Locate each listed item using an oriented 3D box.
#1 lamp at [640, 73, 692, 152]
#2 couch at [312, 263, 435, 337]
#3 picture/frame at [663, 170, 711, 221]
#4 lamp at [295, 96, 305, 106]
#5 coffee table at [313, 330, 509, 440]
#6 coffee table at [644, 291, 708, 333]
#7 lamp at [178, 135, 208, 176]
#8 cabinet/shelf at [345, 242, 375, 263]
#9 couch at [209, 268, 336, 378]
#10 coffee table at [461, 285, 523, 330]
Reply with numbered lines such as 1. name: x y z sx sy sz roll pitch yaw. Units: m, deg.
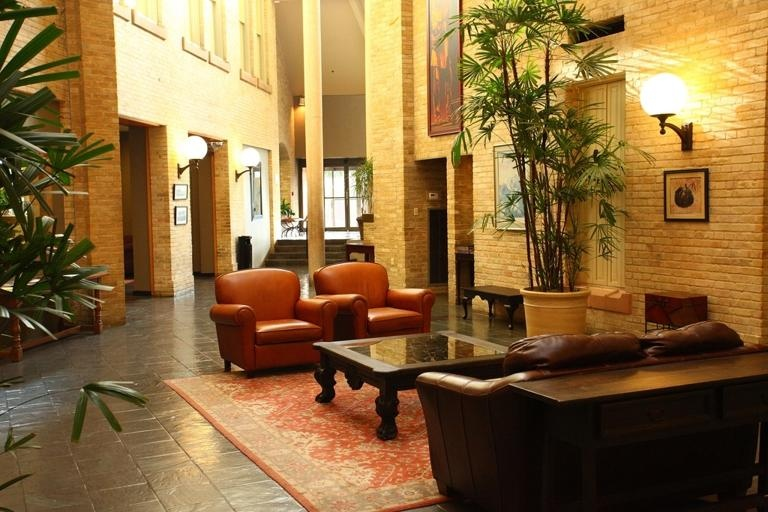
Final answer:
1. lamp: 3.489 -1.739 6.361 0.571 0.903 0.320 -4 9 -22
2. couch: -0.104 0.690 7.090 1.673 0.900 1.279 2 11 -12
3. picture/frame: 3.787 -0.758 6.469 0.128 0.640 0.544 -5 8 -24
4. lamp: -3.686 -6.855 22.985 0.329 0.416 0.457 -4 8 -23
5. coffee table: 0.119 1.053 5.076 1.409 0.403 1.048 -3 9 -33
6. coffee table: 3.604 0.752 6.415 0.368 0.439 0.556 5 -3 -18
7. lamp: -4.550 -2.399 12.487 0.669 1.039 0.792 -2 7 -5
8. cabinet/shelf: -0.530 -0.137 12.745 0.742 0.633 0.641 1 5 13
9. couch: -1.423 0.727 6.579 1.490 0.898 1.001 -1 11 -38
10. coffee table: 2.045 0.816 8.945 0.762 0.463 1.175 -7 7 -31
